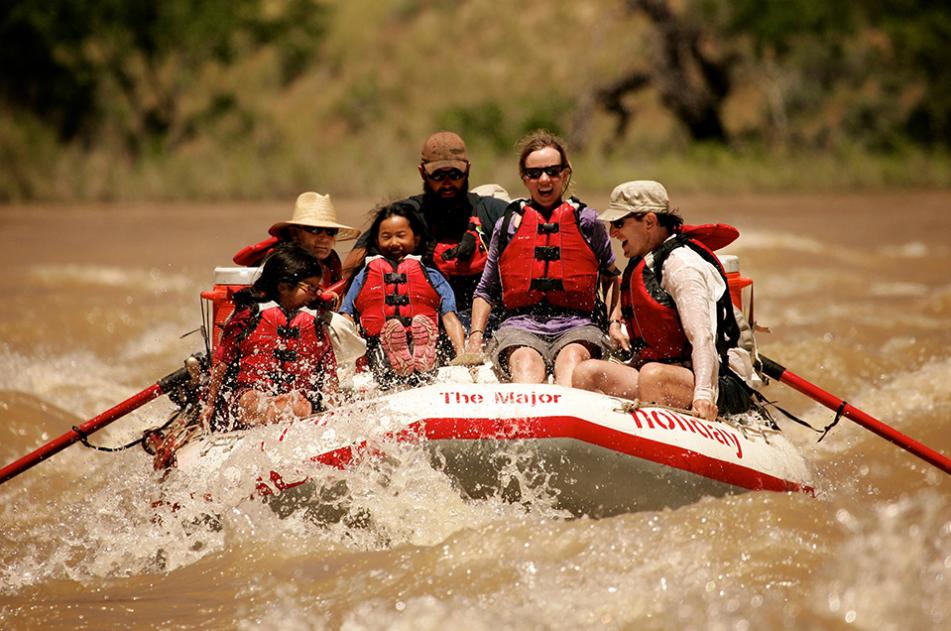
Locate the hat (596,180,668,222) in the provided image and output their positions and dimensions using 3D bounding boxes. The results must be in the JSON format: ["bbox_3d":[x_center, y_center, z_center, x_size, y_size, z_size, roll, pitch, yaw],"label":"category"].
[{"bbox_3d":[1.440,-1.024,12.179,0.484,0.237,0.339,-1,-1,3],"label":"hat"}]

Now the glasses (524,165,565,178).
[{"bbox_3d":[0.639,-1.319,12.531,0.407,0.119,0.114,-6,36,-2],"label":"glasses"}]

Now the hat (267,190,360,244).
[{"bbox_3d":[-1.543,-1.024,13.089,0.581,0.584,0.274,6,72,-14],"label":"hat"}]

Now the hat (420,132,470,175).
[{"bbox_3d":[-0.295,-1.585,13.076,0.448,0.336,0.619,-6,18,-3],"label":"hat"}]
